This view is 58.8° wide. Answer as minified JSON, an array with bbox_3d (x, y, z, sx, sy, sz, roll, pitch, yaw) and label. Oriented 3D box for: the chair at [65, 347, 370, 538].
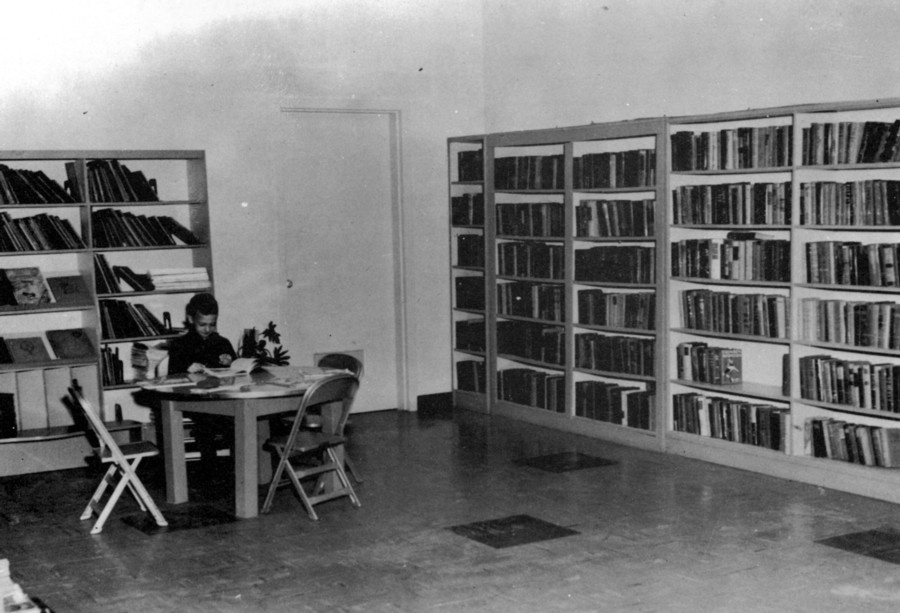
[{"bbox_3d":[-1.853,1.103,6.658,2.090,0.922,1.410,-1,5,3],"label":"chair"}]
